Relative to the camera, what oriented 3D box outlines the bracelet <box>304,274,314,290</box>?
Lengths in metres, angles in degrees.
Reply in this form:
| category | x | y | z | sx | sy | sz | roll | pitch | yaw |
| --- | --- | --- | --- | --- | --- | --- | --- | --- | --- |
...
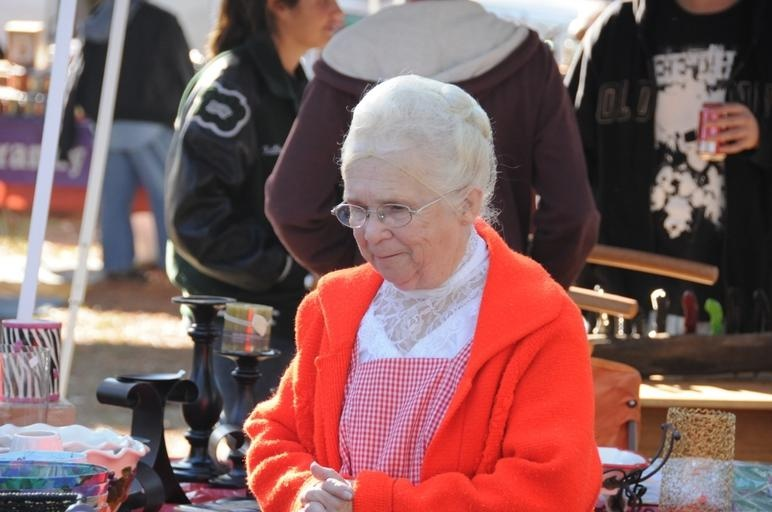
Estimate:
| category | x | y | z | sx | sy | sz | roll | pitch | yaw |
| --- | --- | --- | --- | --- | --- | --- | --- | --- | --- |
| bracelet | -0.407 | 0.138 | 7.949 | 0.071 | 0.075 | 0.070 | -7 | 0 | 18 |
